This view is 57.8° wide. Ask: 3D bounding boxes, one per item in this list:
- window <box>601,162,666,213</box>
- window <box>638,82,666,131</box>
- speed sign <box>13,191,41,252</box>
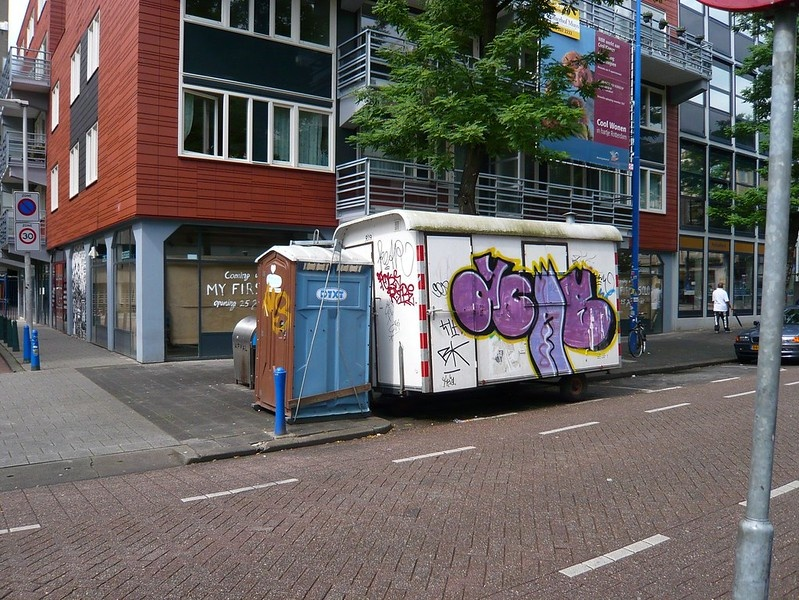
[{"bbox_3d":[8.316,-4.297,27.046,0.091,1.505,2.409,-19,-14,42],"label":"window"},{"bbox_3d":[9.625,-7.446,27.715,0.198,2.087,2.641,-15,-1,16],"label":"window"},{"bbox_3d":[-9.040,-1.936,17.627,0.568,1.459,0.062,1,-15,-33],"label":"speed sign"}]
